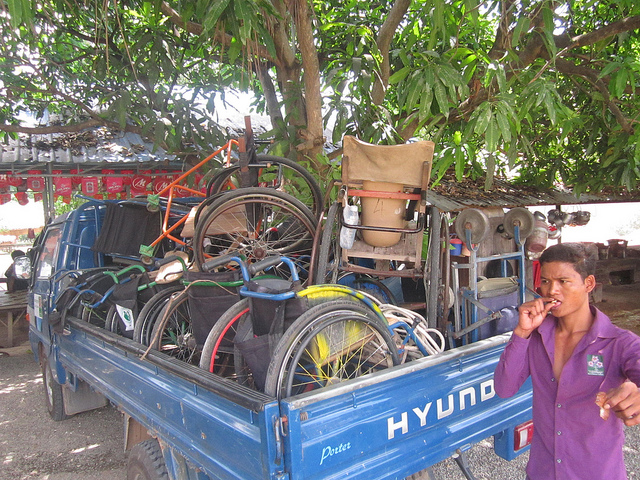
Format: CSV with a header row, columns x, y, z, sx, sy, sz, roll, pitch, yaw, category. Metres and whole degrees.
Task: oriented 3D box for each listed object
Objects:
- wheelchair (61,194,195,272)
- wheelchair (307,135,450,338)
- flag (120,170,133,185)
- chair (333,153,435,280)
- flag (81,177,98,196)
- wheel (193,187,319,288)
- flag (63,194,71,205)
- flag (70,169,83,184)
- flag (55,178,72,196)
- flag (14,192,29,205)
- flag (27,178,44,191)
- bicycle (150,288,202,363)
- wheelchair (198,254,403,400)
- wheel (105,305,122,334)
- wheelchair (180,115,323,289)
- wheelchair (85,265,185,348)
x,y,z,sx,sy,sz,roll,pitch,yaw,category
-2.147,-0.140,5.328,1.241,0.839,0.535,12,-35,-21,wheelchair
0.598,-0.010,4.326,1.128,1.795,1.366,6,15,15,wheelchair
-4.034,-1.312,9.766,0.197,0.299,0.280,1,-1,-33,flag
0.581,-0.138,4.401,0.866,1.264,1.064,6,-8,6,chair
-4.587,-1.065,9.401,0.302,0.316,0.311,-4,13,-21,flag
-0.658,0.038,4.402,1.098,0.210,1.180,-4,29,2,wheel
-5.006,-0.812,9.328,0.175,0.188,0.146,14,6,20,flag
-4.808,-1.246,9.347,0.217,0.230,0.247,1,13,-11,flag
-4.958,-1.035,9.060,0.277,0.275,0.031,-16,14,-28,flag
-6.032,-0.853,9.523,0.207,0.226,0.078,-10,7,-8,flag
-5.545,-1.105,9.176,0.229,0.259,0.259,6,9,4,flag
-1.301,0.803,4.243,0.159,0.684,0.689,-7,-14,35,bicycle
-0.153,0.765,3.455,1.277,1.416,0.975,-6,7,-35,wheelchair
-2.036,0.799,4.647,0.073,0.246,0.236,1,-5,6,wheel
-0.644,-0.262,4.821,1.373,1.787,1.291,12,26,2,wheelchair
-1.741,0.605,4.476,0.850,0.861,0.624,17,-7,-39,wheelchair
